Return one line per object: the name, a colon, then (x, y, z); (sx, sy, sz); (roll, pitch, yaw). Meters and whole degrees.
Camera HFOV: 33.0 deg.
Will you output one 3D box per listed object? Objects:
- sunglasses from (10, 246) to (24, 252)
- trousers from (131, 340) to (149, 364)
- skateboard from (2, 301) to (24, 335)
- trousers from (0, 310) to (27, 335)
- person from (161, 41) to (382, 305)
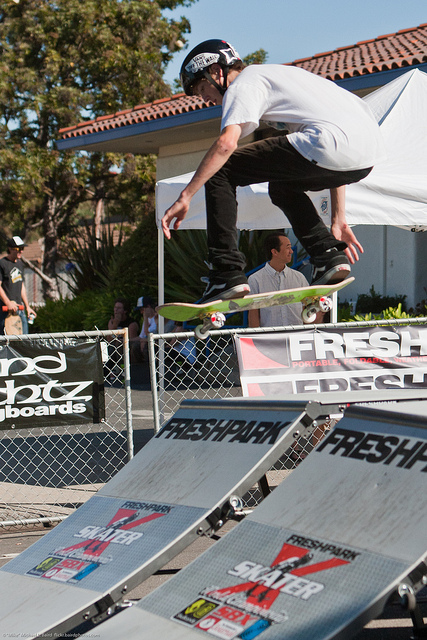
sunglasses: (-2.618, -0.948, 9.569); (0.091, 0.083, 0.026); (5, 26, -26)
trousers: (-1.097, 0.474, 10.685); (0.240, 0.358, 0.651); (-5, 0, -8)
skateboard: (-2.575, -0.039, 9.281); (0.262, 0.441, 0.568); (-5, 0, -15)
trousers: (-2.696, 0.014, 9.504); (0.264, 0.378, 0.071); (-1, -2, -13)
person: (0.335, -0.901, 4.096); (1.294, 1.473, 0.870); (-1, 1, -10)
